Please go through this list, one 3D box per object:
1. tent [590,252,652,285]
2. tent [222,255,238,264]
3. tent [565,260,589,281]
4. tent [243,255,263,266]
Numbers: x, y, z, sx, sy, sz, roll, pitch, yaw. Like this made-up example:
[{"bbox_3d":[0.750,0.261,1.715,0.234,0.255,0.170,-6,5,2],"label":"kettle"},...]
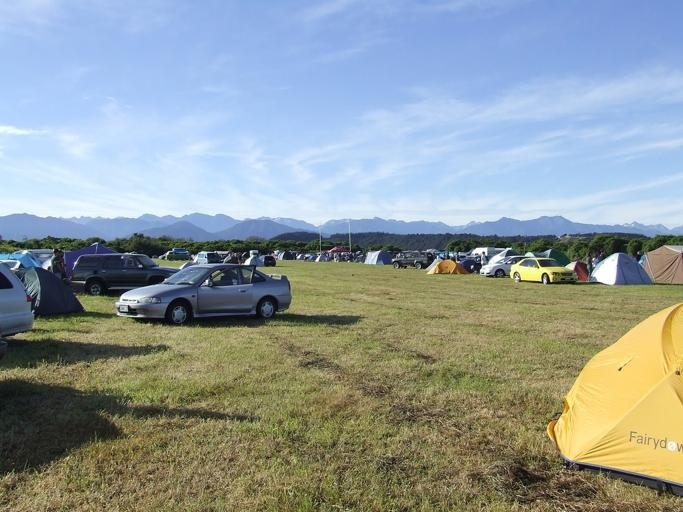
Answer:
[{"bbox_3d":[17.145,1.022,28.963,2.564,1.280,2.285,0,3,23],"label":"tent"},{"bbox_3d":[-11.432,0.318,48.308,1.523,0.667,2.009,1,0,-34],"label":"tent"},{"bbox_3d":[16.159,0.978,31.973,1.759,0.863,1.773,3,4,32],"label":"tent"},{"bbox_3d":[-9.350,0.445,49.861,1.615,0.687,2.215,0,7,-15],"label":"tent"}]
